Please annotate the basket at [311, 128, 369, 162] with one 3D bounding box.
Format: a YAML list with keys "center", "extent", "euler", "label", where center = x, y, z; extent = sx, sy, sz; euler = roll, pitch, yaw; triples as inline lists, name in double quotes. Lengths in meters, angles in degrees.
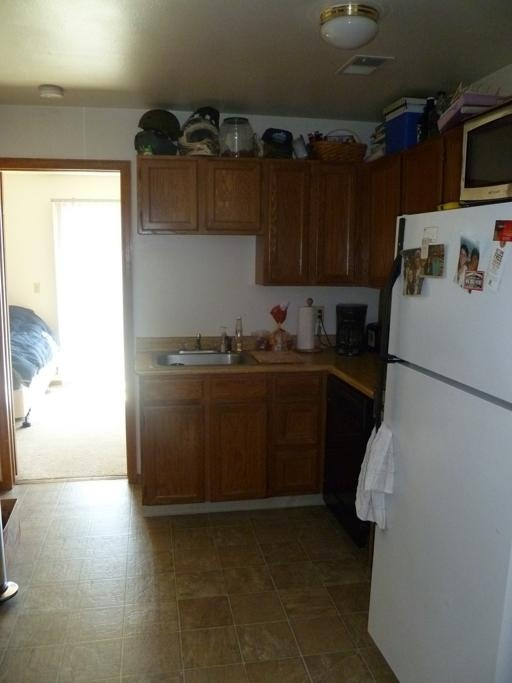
- center: [0.542, -1.221, 3.298]
  extent: [0.356, 0.181, 0.288]
  euler: [-3, 15, -8]
  label: "basket"

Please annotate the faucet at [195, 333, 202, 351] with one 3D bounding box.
- center: [-0.387, -0.004, 3.489]
  extent: [0.042, 0.108, 0.132]
  euler: [0, 8, -7]
  label: "faucet"

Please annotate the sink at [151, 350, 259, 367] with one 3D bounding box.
- center: [-0.320, 0.112, 3.344]
  extent: [0.634, 0.081, 0.228]
  euler: [1, 8, 3]
  label: "sink"

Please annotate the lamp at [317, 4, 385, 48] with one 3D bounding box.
- center: [0.322, -1.097, 1.800]
  extent: [0.125, 0.076, 0.130]
  euler: [1, 10, 18]
  label: "lamp"

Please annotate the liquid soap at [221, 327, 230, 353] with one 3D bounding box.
- center: [-0.197, -0.001, 3.466]
  extent: [0.067, 0.129, 0.104]
  euler: [0, 8, -4]
  label: "liquid soap"

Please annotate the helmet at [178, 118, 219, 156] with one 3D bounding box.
- center: [-0.329, -1.210, 3.066]
  extent: [0.167, 0.198, 0.228]
  euler: [-1, 4, -7]
  label: "helmet"

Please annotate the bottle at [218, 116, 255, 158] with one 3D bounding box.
- center: [-0.103, -1.212, 3.103]
  extent: [0.212, 0.229, 0.223]
  euler: [3, 16, 7]
  label: "bottle"

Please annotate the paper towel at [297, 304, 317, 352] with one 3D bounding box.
- center: [0.330, -0.089, 3.394]
  extent: [0.117, 0.292, 0.143]
  euler: [1, 8, 3]
  label: "paper towel"

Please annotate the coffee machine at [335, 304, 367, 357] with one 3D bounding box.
- center: [0.620, -0.087, 3.385]
  extent: [0.193, 0.322, 0.214]
  euler: [2, 8, 13]
  label: "coffee machine"

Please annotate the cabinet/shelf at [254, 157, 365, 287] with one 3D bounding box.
- center: [0.331, -0.786, 3.241]
  extent: [0.722, 0.932, 0.337]
  euler: [0, 6, -10]
  label: "cabinet/shelf"

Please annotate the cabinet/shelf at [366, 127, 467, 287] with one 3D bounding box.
- center: [0.741, -0.741, 2.886]
  extent: [0.632, 0.622, 0.210]
  euler: [-24, 28, -32]
  label: "cabinet/shelf"
